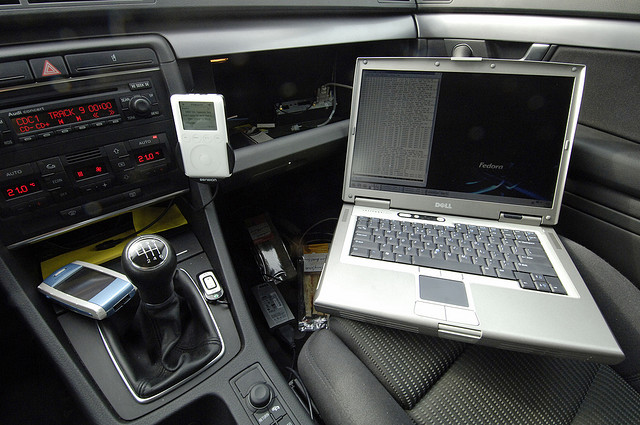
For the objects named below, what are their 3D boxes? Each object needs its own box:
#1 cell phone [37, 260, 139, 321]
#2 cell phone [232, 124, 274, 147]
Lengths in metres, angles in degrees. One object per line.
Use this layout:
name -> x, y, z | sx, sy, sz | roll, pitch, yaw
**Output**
cell phone -> -0.614, 0.203, 1.107 | 0.207, 0.083, 0.130 | 11, 35, 18
cell phone -> -0.237, -0.252, 1.354 | 0.113, 0.026, 0.102 | -16, 33, -29
